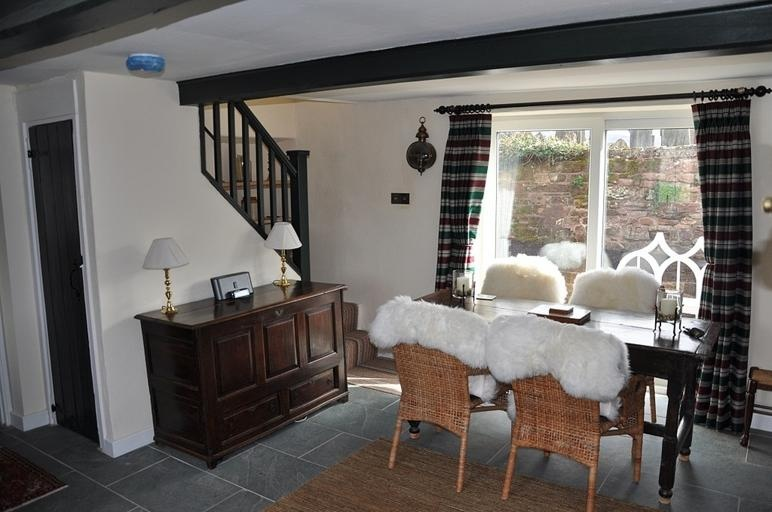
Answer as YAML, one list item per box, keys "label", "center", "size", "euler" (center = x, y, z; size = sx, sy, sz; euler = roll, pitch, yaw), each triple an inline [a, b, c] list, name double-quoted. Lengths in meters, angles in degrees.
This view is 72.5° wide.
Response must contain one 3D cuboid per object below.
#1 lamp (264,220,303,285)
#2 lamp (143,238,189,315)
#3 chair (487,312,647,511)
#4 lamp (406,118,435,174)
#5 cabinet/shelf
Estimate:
- label: "lamp"
  center: [-0.914, -0.037, 4.693]
  size: [0.287, 0.581, 0.552]
  euler: [-3, 13, -10]
- label: "lamp"
  center: [-1.655, 0.137, 3.958]
  size: [0.291, 0.564, 0.383]
  euler: [-7, 15, -25]
- label: "chair"
  center: [1.137, 0.957, 3.283]
  size: [1.013, 1.254, 0.550]
  euler: [1, 14, 7]
- label: "lamp"
  center: [0.363, -1.127, 5.362]
  size: [0.293, 0.561, 0.137]
  euler: [12, 18, 42]
- label: "cabinet/shelf"
  center: [-1.119, 0.905, 4.456]
  size: [0.855, 1.062, 1.567]
  euler: [3, 9, 40]
